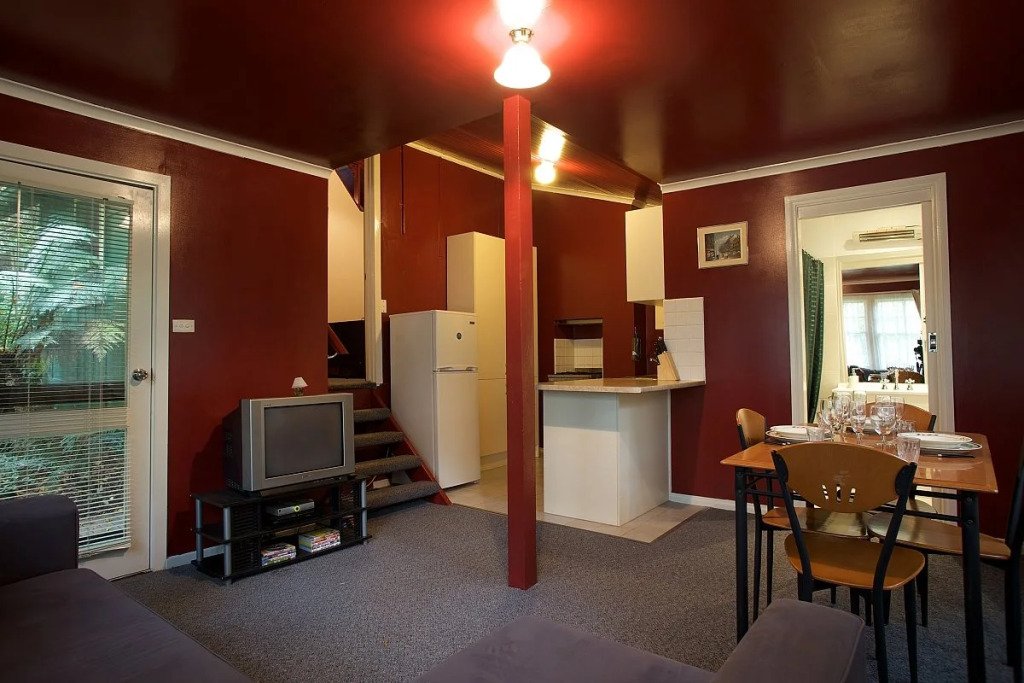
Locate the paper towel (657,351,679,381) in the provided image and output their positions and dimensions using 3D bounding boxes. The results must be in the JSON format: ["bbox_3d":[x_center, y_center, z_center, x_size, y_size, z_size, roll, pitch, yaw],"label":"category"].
[{"bbox_3d":[1.429,0.222,6.539,0.189,0.226,0.116,0,8,8],"label":"paper towel"}]

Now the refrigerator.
[{"bbox_3d":[-0.757,0.584,7.004,0.836,1.756,0.691,-2,7,-8],"label":"refrigerator"}]

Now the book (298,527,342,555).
[{"bbox_3d":[-1.442,1.506,5.396,0.180,0.070,0.192,4,4,35],"label":"book"}]

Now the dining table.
[{"bbox_3d":[2.093,1.014,4.189,1.311,1.345,1.423,-3,-4,34],"label":"dining table"}]

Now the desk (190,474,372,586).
[{"bbox_3d":[-1.685,1.351,5.384,1.094,0.565,0.522,-4,5,-39],"label":"desk"}]

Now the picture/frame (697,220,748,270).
[{"bbox_3d":[1.881,-0.851,6.345,0.434,0.423,0.032,0,2,33],"label":"picture/frame"}]

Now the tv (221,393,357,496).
[{"bbox_3d":[-1.640,0.757,5.401,0.788,0.647,0.444,0,-3,-43],"label":"tv"}]
